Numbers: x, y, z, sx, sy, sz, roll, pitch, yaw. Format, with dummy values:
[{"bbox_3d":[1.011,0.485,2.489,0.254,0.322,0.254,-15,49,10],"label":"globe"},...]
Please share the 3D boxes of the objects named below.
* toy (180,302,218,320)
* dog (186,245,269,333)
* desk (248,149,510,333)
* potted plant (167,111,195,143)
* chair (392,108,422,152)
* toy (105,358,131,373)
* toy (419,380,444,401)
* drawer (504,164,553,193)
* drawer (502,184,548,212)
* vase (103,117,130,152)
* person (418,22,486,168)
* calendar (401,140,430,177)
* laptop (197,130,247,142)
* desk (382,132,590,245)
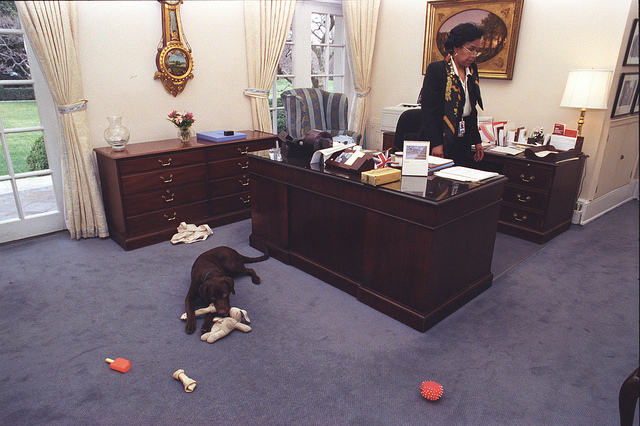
[{"bbox_3d":[-1.080,0.874,3.723,0.317,0.087,0.085,-20,6,-23],"label":"toy"},{"bbox_3d":[-0.950,0.564,4.096,0.560,0.397,1.327,4,29,6],"label":"dog"},{"bbox_3d":[0.434,0.014,4.548,1.381,1.207,2.501,-17,27,-36],"label":"desk"},{"bbox_3d":[-1.669,-1.046,5.090,0.257,0.308,0.261,-6,19,-15],"label":"potted plant"},{"bbox_3d":[0.969,-0.952,4.720,0.279,0.417,0.140,-8,25,-13],"label":"chair"},{"bbox_3d":[-1.606,1.199,3.329,0.158,0.042,0.083,6,16,22],"label":"toy"},{"bbox_3d":[0.854,1.330,3.152,0.188,0.100,0.118,-2,24,-1],"label":"toy"},{"bbox_3d":[2.425,-0.418,4.873,0.389,0.400,0.235,15,20,30],"label":"drawer"},{"bbox_3d":[2.401,-0.198,4.955,0.392,0.179,0.395,13,19,41],"label":"drawer"},{"bbox_3d":[-2.300,-0.899,4.723,0.231,0.359,0.273,-17,28,-29],"label":"vase"},{"bbox_3d":[1.393,-1.200,4.385,0.716,1.433,0.370,-16,28,-28],"label":"person"},{"bbox_3d":[0.874,-0.489,3.831,0.322,0.428,0.042,3,7,1],"label":"calendar"},{"bbox_3d":[-1.281,-0.978,5.318,0.620,0.080,0.355,7,26,18],"label":"laptop"},{"bbox_3d":[2.364,-0.694,5.879,1.205,1.161,2.374,-28,35,-26],"label":"desk"}]
